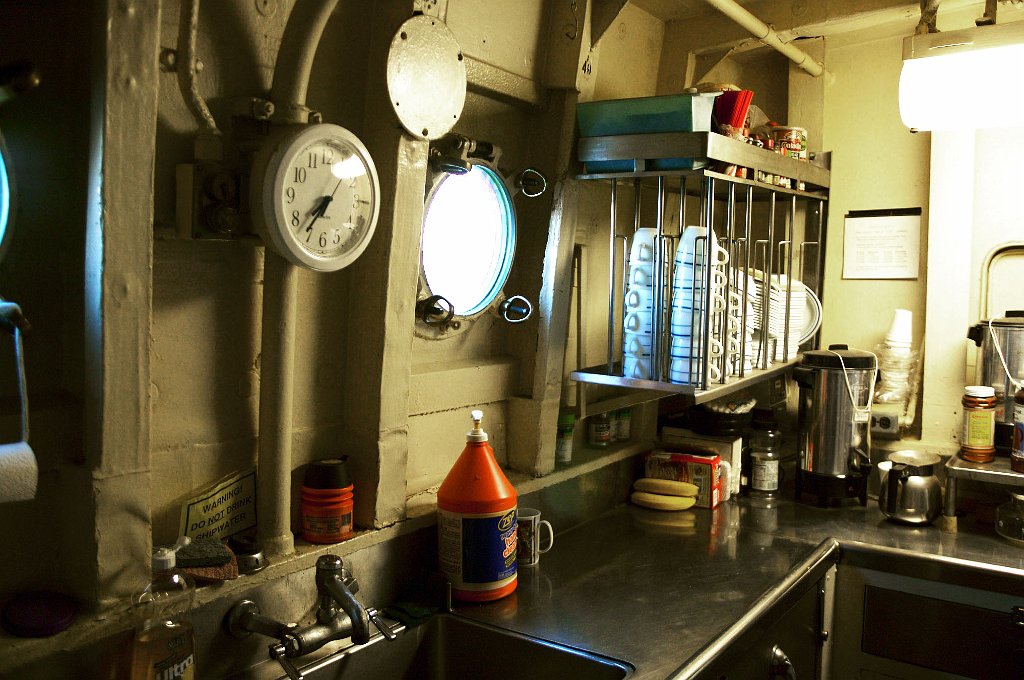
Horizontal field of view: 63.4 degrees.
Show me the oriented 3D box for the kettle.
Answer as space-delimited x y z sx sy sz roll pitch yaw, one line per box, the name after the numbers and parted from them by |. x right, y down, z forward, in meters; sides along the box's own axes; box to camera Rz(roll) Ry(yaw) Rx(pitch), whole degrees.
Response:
1.320 0.358 3.428 0.321 0.614 0.210 6 14 17 | kettle

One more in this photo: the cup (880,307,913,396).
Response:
1.692 0.075 3.653 0.122 0.384 0.143 6 14 18 | cup

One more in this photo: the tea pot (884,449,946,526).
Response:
1.546 0.574 3.267 0.281 0.255 0.207 -4 5 -45 | tea pot

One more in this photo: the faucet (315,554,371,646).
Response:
-0.462 0.708 2.234 0.085 0.194 0.283 -4 9 -30 | faucet

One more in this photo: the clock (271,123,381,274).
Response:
-0.504 -0.371 2.197 0.073 0.484 0.440 4 6 43 | clock

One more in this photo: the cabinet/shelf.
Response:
0.866 -0.280 3.427 0.519 0.929 1.413 2 4 34 | cabinet/shelf

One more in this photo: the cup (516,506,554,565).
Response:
0.094 0.652 2.903 0.093 0.188 0.288 6 14 18 | cup

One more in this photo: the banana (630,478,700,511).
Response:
0.611 0.618 3.336 0.225 0.057 0.124 6 46 19 | banana
